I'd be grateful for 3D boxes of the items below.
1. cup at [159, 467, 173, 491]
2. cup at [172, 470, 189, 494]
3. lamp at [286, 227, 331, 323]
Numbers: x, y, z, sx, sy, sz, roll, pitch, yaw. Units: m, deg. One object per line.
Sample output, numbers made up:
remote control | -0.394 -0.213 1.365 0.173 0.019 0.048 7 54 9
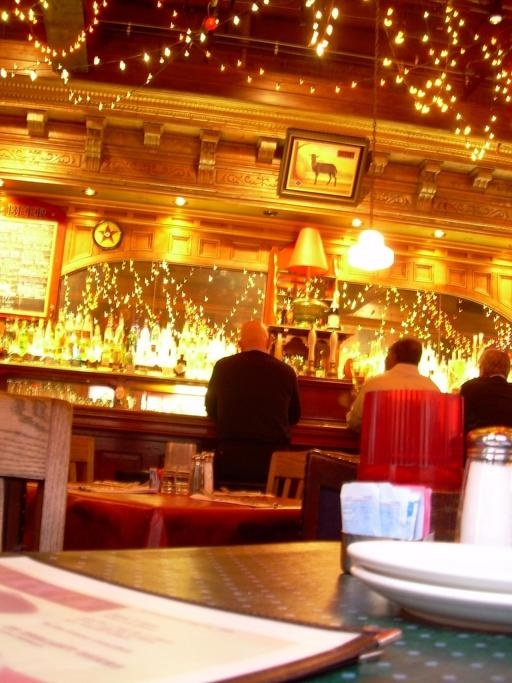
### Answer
cup | -0.295 0.469 2.093 0.061 0.057 0.057 1 -9 0
cup | -0.245 0.470 2.088 0.062 0.070 0.058 2 -1 0
lamp | 0.502 -0.631 5.982 0.397 0.984 0.594 5 -7 3
